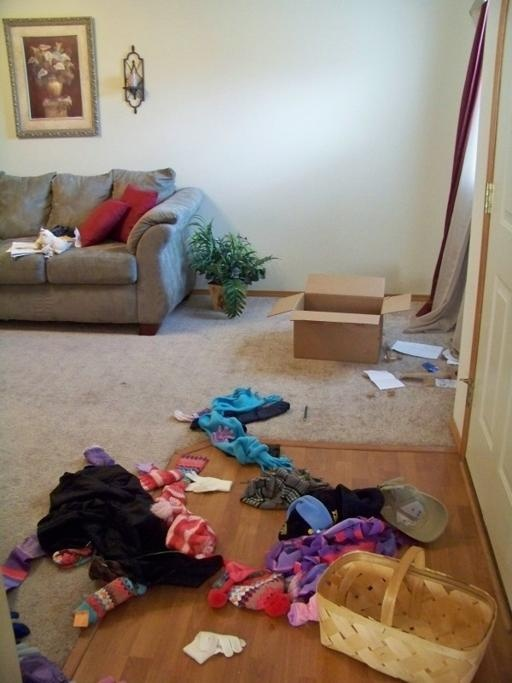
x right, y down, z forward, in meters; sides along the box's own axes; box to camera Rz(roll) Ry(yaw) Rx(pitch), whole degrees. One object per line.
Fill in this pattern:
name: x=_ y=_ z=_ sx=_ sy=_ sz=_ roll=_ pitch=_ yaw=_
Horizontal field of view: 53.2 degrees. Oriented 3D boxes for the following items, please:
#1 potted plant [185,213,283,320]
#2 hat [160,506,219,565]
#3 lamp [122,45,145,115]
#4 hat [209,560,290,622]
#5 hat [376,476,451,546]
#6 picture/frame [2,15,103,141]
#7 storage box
potted plant: x=-0.149 y=-0.477 z=3.748 sx=0.685 sy=0.697 sz=0.702 roll=0 pitch=34 yaw=0
hat: x=-0.196 y=0.580 z=1.513 sx=0.140 sy=0.064 sz=0.161 roll=-17 pitch=29 yaw=-32
lamp: x=-0.875 y=-1.866 z=3.657 sx=0.155 sy=0.436 sz=0.085 roll=6 pitch=25 yaw=17
hat: x=-0.011 y=0.639 z=1.327 sx=0.212 sy=0.038 sz=0.139 roll=4 pitch=25 yaw=13
hat: x=0.460 y=0.522 z=1.553 sx=0.213 sy=0.098 sz=0.153 roll=14 pitch=28 yaw=31
picture/frame: x=-1.462 y=-1.947 z=3.710 sx=0.854 sy=1.018 sz=0.062 roll=0 pitch=21 yaw=2
storage box: x=0.480 y=-0.132 z=2.967 sx=0.737 sy=0.363 sz=0.529 roll=3 pitch=25 yaw=11
